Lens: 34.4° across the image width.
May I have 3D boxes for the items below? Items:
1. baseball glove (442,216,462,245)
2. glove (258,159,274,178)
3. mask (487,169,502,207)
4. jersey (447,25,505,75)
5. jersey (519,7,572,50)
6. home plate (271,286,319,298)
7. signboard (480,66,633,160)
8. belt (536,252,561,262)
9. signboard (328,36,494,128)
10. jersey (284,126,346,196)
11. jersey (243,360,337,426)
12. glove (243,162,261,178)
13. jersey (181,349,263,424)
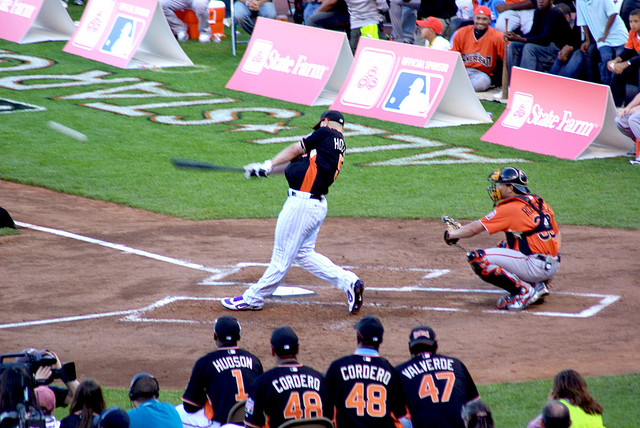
[{"bbox_3d":[2.091,0.271,16.341,0.163,0.410,0.314,-21,-14,-33],"label":"baseball glove"},{"bbox_3d":[-0.774,-0.686,15.456,0.209,0.266,0.270,14,17,15],"label":"glove"},{"bbox_3d":[2.694,-0.434,15.837,0.323,0.459,0.361,0,5,16],"label":"mask"},{"bbox_3d":[3.743,-3.823,23.914,1.730,1.072,0.463,19,32,31],"label":"jersey"},{"bbox_3d":[5.146,-4.223,23.291,1.347,0.731,0.691,-3,2,-13],"label":"jersey"},{"bbox_3d":[-0.392,1.209,16.034,0.740,0.093,0.301,4,17,-13],"label":"home plate"},{"bbox_3d":[5.202,-1.856,21.372,2.851,1.351,2.003,20,29,33],"label":"signboard"},{"bbox_3d":[3.449,0.658,15.605,0.272,0.088,0.229,1,2,29],"label":"belt"},{"bbox_3d":[2.017,-2.858,22.459,2.990,1.757,0.978,15,18,21],"label":"signboard"},{"bbox_3d":[-0.072,-0.768,15.480,0.942,1.060,0.894,16,-8,-18],"label":"jersey"},{"bbox_3d":[-0.331,2.093,12.546,1.390,0.933,0.684,0,5,-2],"label":"jersey"},{"bbox_3d":[-1.021,-0.674,15.609,0.215,0.309,0.488,7,16,-8],"label":"glove"},{"bbox_3d":[-1.182,2.162,12.744,0.950,0.662,0.438,6,11,-5],"label":"jersey"}]
